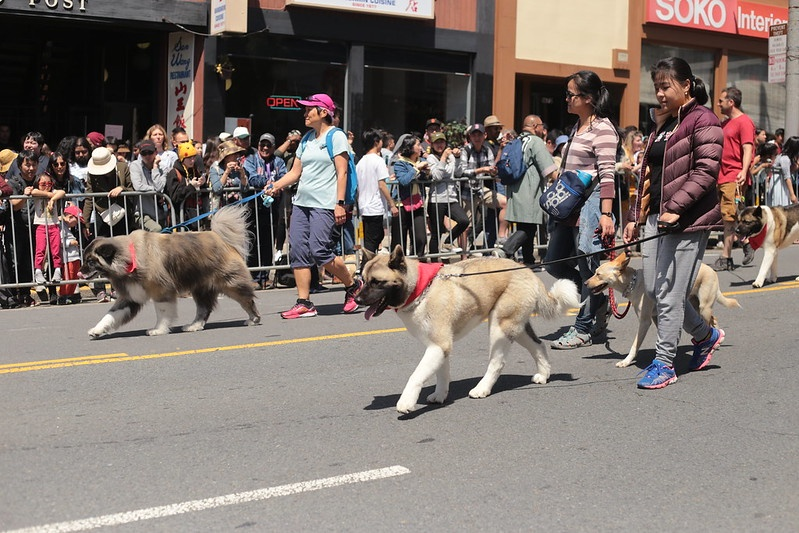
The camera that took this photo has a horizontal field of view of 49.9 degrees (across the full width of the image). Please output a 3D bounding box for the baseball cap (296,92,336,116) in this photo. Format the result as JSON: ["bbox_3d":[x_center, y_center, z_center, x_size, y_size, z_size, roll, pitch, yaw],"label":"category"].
[{"bbox_3d":[-1.052,-2.143,11.206,0.415,0.230,0.282,9,4,-13],"label":"baseball cap"}]

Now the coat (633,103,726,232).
[{"bbox_3d":[2.805,-0.954,8.196,0.568,1.220,0.424,-1,11,-1],"label":"coat"}]

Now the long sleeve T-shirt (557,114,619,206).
[{"bbox_3d":[2.066,-1.176,9.239,0.558,0.868,0.444,2,11,12],"label":"long sleeve T-shirt"}]

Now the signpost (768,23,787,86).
[{"bbox_3d":[8.567,-4.858,19.383,0.312,1.270,0.662,-4,12,-18],"label":"signpost"}]

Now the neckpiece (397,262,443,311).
[{"bbox_3d":[0.227,0.181,7.955,0.221,0.419,0.540,10,15,42],"label":"neckpiece"}]

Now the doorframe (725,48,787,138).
[{"bbox_3d":[11.837,-5.840,28.300,0.840,3.029,3.156,-7,9,41],"label":"doorframe"}]

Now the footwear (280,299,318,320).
[{"bbox_3d":[-1.315,0.564,11.575,0.496,0.266,0.212,-3,7,-19],"label":"footwear"}]

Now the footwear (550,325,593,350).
[{"bbox_3d":[1.993,0.807,9.876,0.484,0.232,0.211,-4,5,-16],"label":"footwear"}]
